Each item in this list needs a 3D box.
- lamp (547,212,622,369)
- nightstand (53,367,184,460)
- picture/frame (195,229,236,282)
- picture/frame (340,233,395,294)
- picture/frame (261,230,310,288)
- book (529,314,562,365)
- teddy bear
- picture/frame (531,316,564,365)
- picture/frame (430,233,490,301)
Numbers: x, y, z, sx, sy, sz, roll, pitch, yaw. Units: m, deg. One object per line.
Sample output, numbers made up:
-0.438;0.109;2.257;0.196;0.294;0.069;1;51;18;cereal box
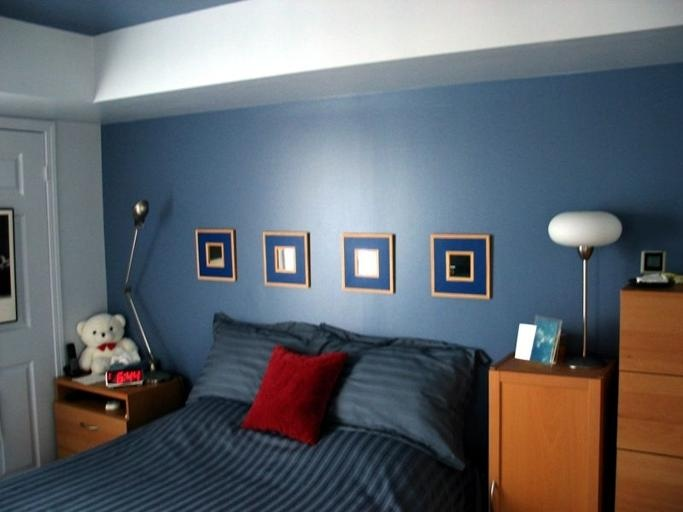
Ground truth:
1.235;0.168;2.688;0.346;0.593;0.348;2;1;29;lamp
-1.628;1.082;3.868;0.783;0.839;0.606;1;2;34;nightstand
-0.893;-0.004;3.756;0.324;0.369;0.027;3;5;30;picture/frame
0.174;0.044;3.271;0.327;0.374;0.035;2;4;28;picture/frame
-0.361;0.018;3.511;0.326;0.371;0.035;4;6;27;picture/frame
1.020;0.432;2.650;0.188;0.214;0.053;2;-8;45;book
-1.813;0.637;4.115;0.532;0.569;0.384;-2;-4;-36;teddy bear
1.043;0.437;2.684;0.188;0.214;0.053;3;-8;45;picture/frame
0.702;0.059;3.042;0.341;0.390;0.029;1;3;25;picture/frame
